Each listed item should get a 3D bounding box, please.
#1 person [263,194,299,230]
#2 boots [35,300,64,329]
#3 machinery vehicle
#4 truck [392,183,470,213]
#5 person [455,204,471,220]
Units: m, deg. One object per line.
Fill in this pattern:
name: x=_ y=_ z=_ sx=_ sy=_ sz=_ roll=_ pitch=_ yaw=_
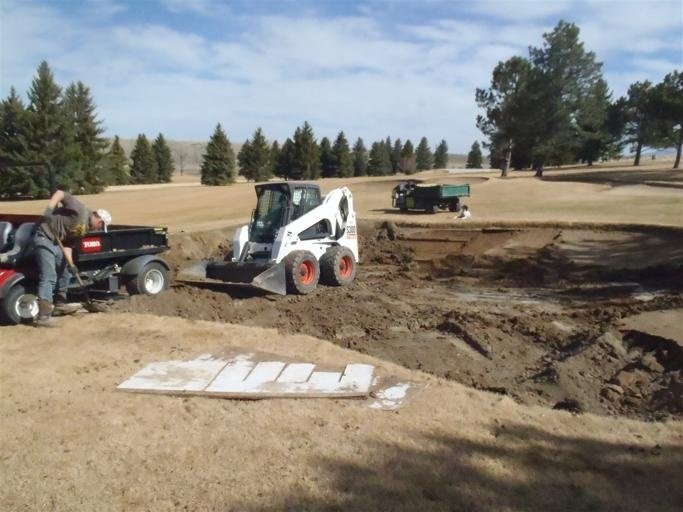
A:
person: x=-1.646 y=-1.220 z=13.785 sx=0.799 sy=0.891 sz=0.568 roll=1 pitch=8 yaw=5
boots: x=-5.612 y=1.111 z=9.860 sx=0.452 sy=0.541 sz=0.214 roll=-3 pitch=3 yaw=-14
machinery vehicle: x=-1.318 y=-0.606 z=14.100 sx=4.358 sy=2.825 sz=2.475 roll=-5 pitch=10 yaw=-37
truck: x=5.102 y=-3.581 z=31.207 sx=2.335 sy=1.790 sz=4.062 roll=-7 pitch=10 yaw=-42
person: x=6.260 y=-2.266 z=26.784 sx=0.685 sy=0.688 sz=1.833 roll=0 pitch=2 yaw=19
